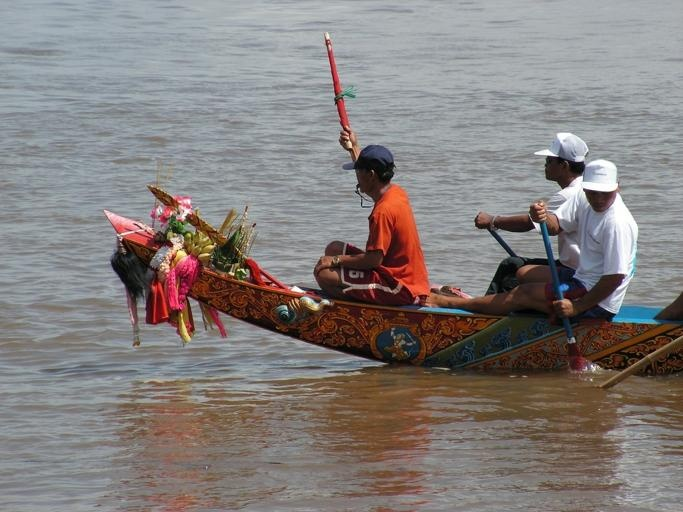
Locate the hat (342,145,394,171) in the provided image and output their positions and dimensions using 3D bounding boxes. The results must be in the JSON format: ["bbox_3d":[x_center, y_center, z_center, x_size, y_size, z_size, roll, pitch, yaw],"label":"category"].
[{"bbox_3d":[0.274,-0.983,15.323,0.492,0.163,0.256,2,9,12],"label":"hat"}]

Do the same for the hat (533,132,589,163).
[{"bbox_3d":[2.316,-1.100,15.585,0.609,0.203,0.305,7,10,12],"label":"hat"}]

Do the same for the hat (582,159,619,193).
[{"bbox_3d":[2.572,-0.786,15.086,0.412,0.173,0.455,-1,1,6],"label":"hat"}]
